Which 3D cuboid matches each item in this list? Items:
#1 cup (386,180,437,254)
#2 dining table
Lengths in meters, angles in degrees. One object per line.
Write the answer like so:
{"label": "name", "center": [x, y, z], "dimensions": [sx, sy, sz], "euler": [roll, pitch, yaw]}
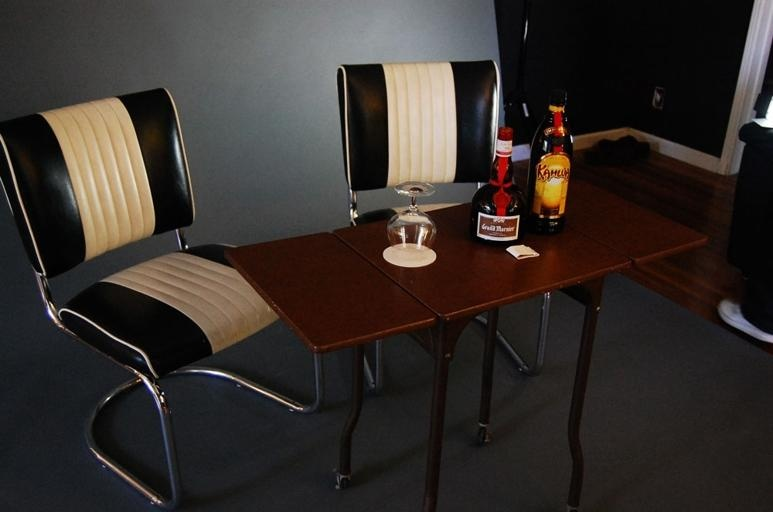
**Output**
{"label": "cup", "center": [0.054, -0.128, 1.896], "dimensions": [0.190, 0.260, 0.189], "euler": [2, 11, -1]}
{"label": "dining table", "center": [0.323, 0.425, 2.233], "dimensions": [1.073, 0.730, 0.514], "euler": [-14, 32, -24]}
